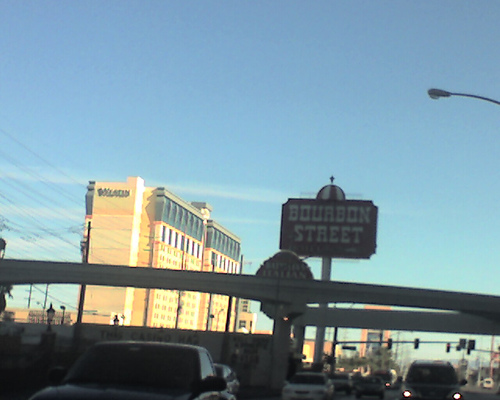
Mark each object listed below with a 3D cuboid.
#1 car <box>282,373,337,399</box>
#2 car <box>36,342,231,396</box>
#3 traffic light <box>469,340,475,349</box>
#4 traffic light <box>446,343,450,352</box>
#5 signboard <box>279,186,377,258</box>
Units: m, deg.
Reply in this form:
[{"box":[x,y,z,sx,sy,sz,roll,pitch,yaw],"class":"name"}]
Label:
[{"box":[2.852,9.346,37.993,2.317,1.466,2.788,2,-16,8],"class":"car"},{"box":[-2.715,4.264,18.994,3.910,1.541,1.405,8,-16,-12],"class":"car"},{"box":[18.860,12.311,64.718,0.408,0.773,1.010,-1,-16,16],"class":"traffic light"},{"box":[20.842,15.603,79.965,0.249,0.738,0.468,-3,-16,23],"class":"traffic light"},{"box":[7.074,2.659,67.741,6.698,6.239,0.125,1,-35,6],"class":"signboard"}]
